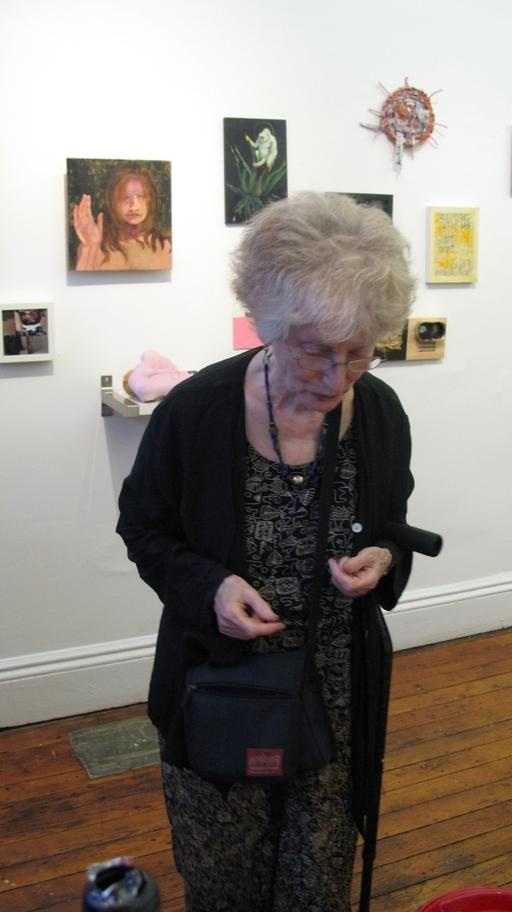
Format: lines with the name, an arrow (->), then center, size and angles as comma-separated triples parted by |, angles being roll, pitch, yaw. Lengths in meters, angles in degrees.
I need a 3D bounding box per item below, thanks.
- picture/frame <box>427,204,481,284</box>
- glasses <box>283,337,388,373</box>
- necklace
picture/frame -> 0.763, -0.838, 2.694 | 0.265, 0.380, 0.037 | -6, 14, -25
glasses -> 0.130, -0.143, 0.987 | 0.099, 0.044, 0.189 | 11, 15, 42
necklace -> 0.062, -0.056, 1.084 | 0.130, 0.193, 0.094 | 3, 11, 13
